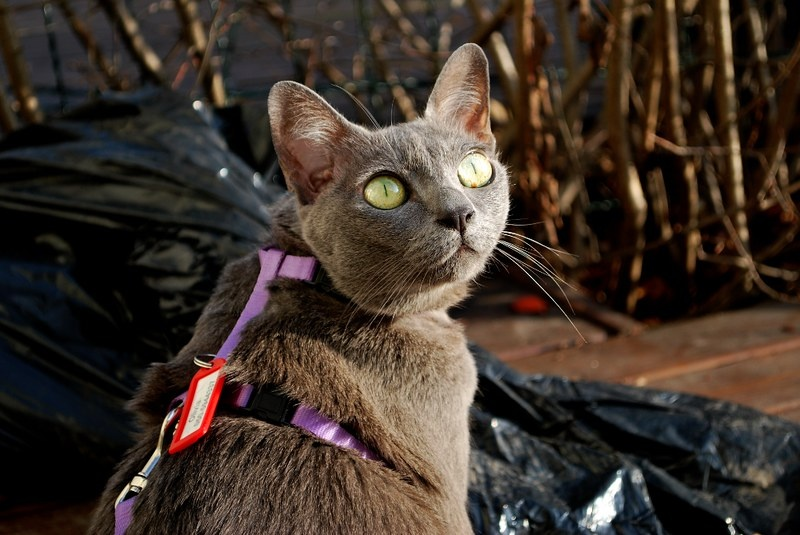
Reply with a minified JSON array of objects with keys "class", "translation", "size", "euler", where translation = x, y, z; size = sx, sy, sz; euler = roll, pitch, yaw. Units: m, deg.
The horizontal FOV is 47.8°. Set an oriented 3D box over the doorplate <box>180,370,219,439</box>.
[{"class":"doorplate","translation":[-0.584,0.395,2.678],"size":[0.090,0.224,0.051],"euler":[16,-29,0]}]
